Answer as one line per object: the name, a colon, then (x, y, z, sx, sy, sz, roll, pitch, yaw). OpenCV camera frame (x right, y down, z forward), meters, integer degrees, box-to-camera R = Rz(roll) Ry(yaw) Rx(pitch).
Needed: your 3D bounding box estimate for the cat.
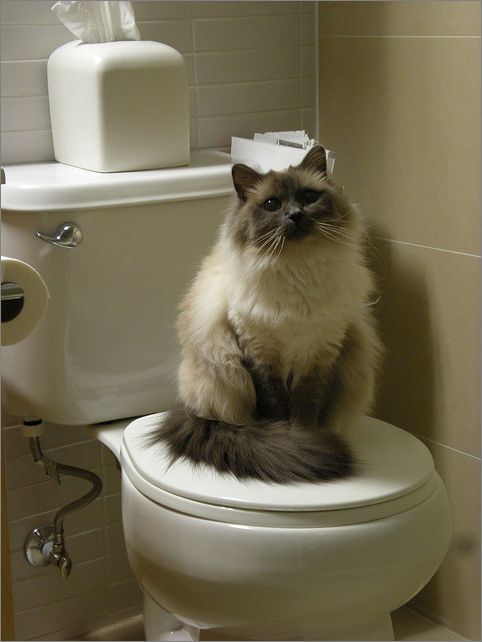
cat: (0.050, -0.015, 0.758, 0.312, 0.381, 0.361, -2, 3, -8)
